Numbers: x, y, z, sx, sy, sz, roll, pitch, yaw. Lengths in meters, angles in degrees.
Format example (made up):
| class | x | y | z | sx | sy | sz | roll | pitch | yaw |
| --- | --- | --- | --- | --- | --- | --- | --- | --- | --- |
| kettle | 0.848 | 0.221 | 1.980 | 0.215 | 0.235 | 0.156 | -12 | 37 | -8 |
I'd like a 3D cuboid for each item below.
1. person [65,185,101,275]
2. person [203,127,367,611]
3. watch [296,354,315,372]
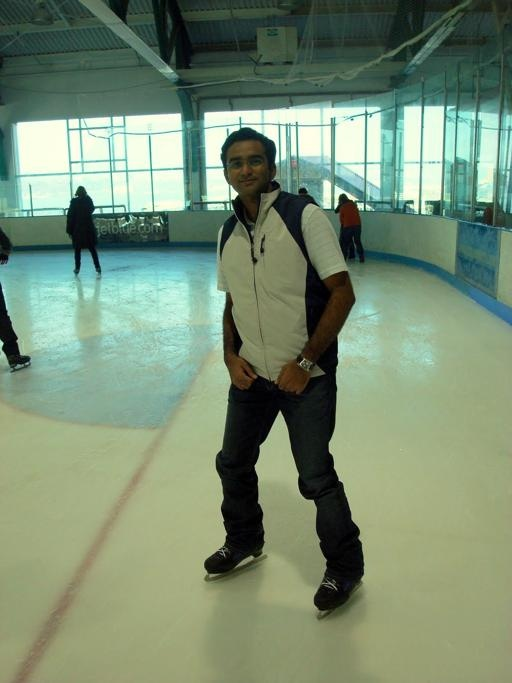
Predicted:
| class | x | y | z | sx | sy | sz | roll | pitch | yaw |
| --- | --- | --- | --- | --- | --- | --- | --- | --- | --- |
| person | -3.548 | -2.264 | 11.048 | 0.555 | 1.715 | 1.435 | -7 | 16 | -16 |
| person | 0.079 | 0.106 | 1.653 | 0.546 | 1.451 | 0.413 | 4 | 17 | 22 |
| watch | 0.133 | 0.063 | 1.468 | 0.048 | 0.044 | 0.018 | 18 | 47 | 29 |
